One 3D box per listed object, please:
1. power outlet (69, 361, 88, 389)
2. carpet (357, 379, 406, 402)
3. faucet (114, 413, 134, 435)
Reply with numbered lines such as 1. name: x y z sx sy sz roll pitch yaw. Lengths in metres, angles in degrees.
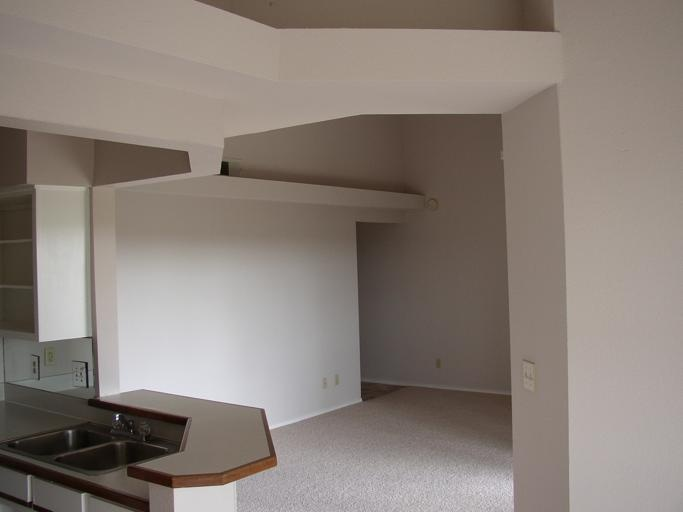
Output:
1. power outlet: -1.754 0.793 3.716 0.170 0.218 0.027 2 5 43
2. carpet: 0.554 1.849 7.690 0.560 0.054 1.199 -1 1 2
3. faucet: -1.329 1.014 3.393 0.133 0.144 0.091 -1 -3 -24
